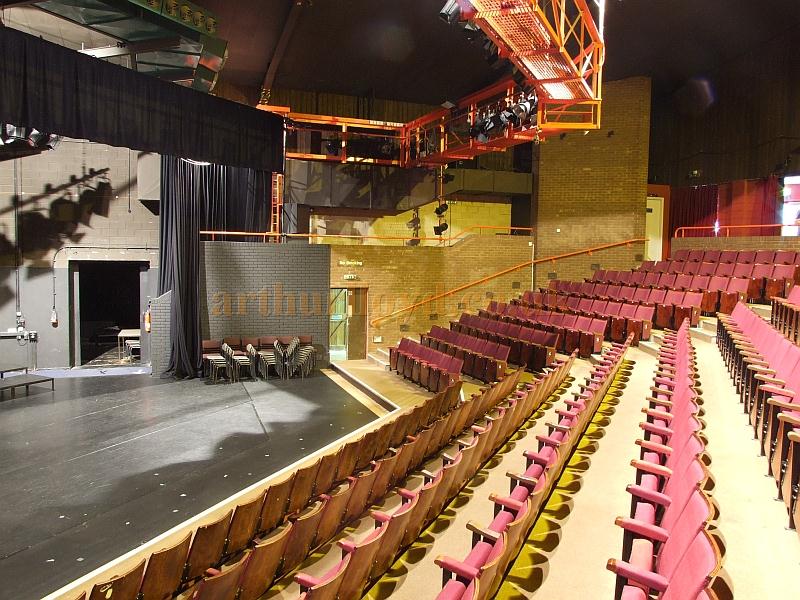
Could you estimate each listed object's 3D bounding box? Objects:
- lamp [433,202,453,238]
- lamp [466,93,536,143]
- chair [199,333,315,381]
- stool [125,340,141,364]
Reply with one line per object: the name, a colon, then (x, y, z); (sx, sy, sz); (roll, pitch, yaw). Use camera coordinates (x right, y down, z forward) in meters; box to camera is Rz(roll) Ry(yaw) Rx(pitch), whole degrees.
lamp: (0.865, -1.626, 11.750); (0.389, 0.694, 0.158); (-5, 4, -36)
lamp: (1.420, -2.496, 8.113); (0.136, 0.440, 1.330); (-5, 3, -30)
chair: (-2.028, 0.872, 8.654); (1.728, 0.601, 0.780); (-4, 3, -19)
stool: (-4.492, 0.857, 9.895); (0.331, 0.519, 0.331); (4, -4, -26)
